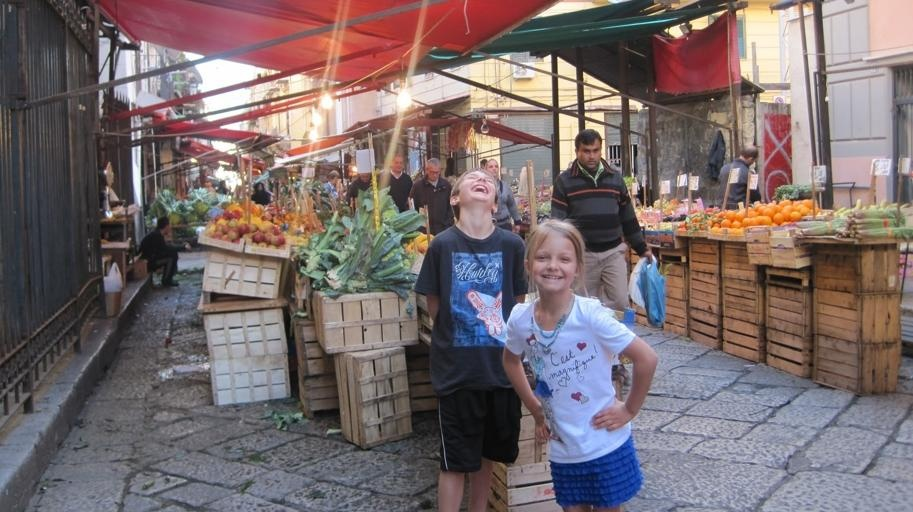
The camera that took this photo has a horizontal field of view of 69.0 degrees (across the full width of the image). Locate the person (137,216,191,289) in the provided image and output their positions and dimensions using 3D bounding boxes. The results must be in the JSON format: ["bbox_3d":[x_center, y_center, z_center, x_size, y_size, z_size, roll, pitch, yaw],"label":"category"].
[{"bbox_3d":[-7.089,-0.062,16.143,1.172,1.916,0.962,1,1,-12],"label":"person"}]
